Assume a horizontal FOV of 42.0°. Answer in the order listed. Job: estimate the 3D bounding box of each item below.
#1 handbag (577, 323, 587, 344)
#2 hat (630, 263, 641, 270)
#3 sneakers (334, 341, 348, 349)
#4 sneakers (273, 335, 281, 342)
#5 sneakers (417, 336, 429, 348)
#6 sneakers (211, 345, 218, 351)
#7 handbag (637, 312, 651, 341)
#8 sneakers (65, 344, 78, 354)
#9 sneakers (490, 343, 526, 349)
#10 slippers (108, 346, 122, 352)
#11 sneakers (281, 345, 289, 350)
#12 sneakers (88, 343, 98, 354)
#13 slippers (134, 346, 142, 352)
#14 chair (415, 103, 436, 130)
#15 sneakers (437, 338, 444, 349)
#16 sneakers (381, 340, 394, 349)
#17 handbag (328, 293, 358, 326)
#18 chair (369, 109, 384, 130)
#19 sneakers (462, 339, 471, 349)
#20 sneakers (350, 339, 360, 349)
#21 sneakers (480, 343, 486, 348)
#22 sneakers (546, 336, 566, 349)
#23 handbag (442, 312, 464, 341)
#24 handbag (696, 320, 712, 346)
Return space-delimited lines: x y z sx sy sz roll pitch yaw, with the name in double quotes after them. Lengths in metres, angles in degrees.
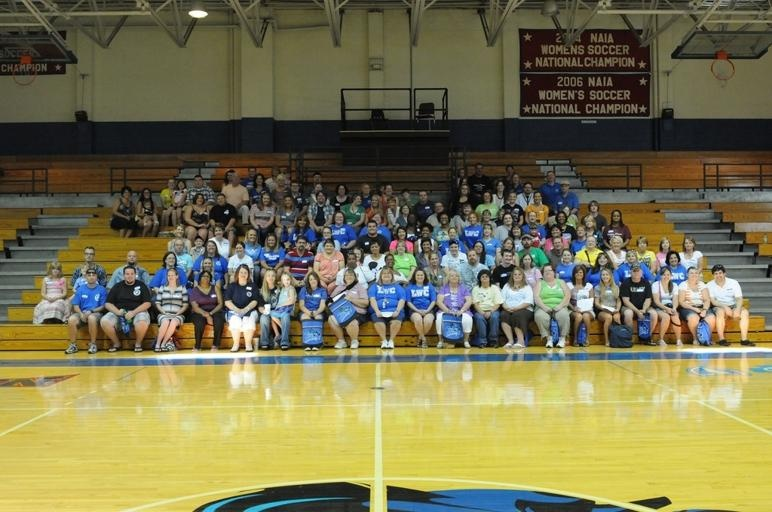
4.046 1.586 20.794 0.160 0.428 0.323 4 -17 6 "handbag"
5.189 0.220 20.938 0.168 0.144 0.209 -1 0 1 "hat"
-0.941 1.829 20.903 0.120 0.131 0.276 -3 -10 20 "sneakers"
-2.260 1.695 20.858 0.172 0.124 0.048 -1 0 38 "sneakers"
0.751 1.783 20.926 0.205 0.227 0.586 0 -6 -3 "sneakers"
-3.549 1.885 20.818 0.144 0.107 0.164 -1 0 -16 "sneakers"
5.349 1.472 20.875 0.276 0.532 0.220 -1 0 10 "handbag"
-6.471 1.897 20.694 0.238 0.204 0.345 -1 0 -16 "sneakers"
2.640 1.843 20.683 0.408 0.119 0.160 -5 -4 22 "sneakers"
-5.597 1.904 20.728 0.242 0.139 0.269 -1 0 -14 "slippers"
-2.086 1.870 20.759 0.156 0.092 0.142 -1 0 -8 "sneakers"
-6.037 1.875 20.696 0.179 0.219 0.382 -1 0 -16 "sneakers"
-5.098 1.900 20.695 0.166 0.138 0.328 -1 0 -13 "slippers"
1.083 -3.866 27.948 0.503 0.745 0.958 -1 0 2 "chair"
1.126 1.790 20.826 0.185 0.197 0.484 -1 -6 4 "sneakers"
0.013 1.803 20.776 0.192 0.166 0.288 -1 0 -29 "sneakers"
-0.887 1.104 20.668 0.439 0.588 0.213 -40 -14 -9 "handbag"
-0.229 -3.839 28.354 0.404 0.564 0.485 -1 0 -1 "chair"
1.651 1.800 20.776 0.145 0.131 0.335 -1 -9 -1 "sneakers"
-0.654 1.808 20.824 0.161 0.124 0.305 -2 -9 3 "sneakers"
2.019 1.825 20.770 0.168 0.089 0.068 -1 0 -41 "sneakers"
3.484 1.758 20.709 0.376 0.230 0.252 -1 0 -3 "sneakers"
1.376 1.448 20.694 0.592 0.661 0.208 0 6 4 "handbag"
6.563 1.564 20.775 0.254 0.585 0.270 14 -28 -11 "handbag"
